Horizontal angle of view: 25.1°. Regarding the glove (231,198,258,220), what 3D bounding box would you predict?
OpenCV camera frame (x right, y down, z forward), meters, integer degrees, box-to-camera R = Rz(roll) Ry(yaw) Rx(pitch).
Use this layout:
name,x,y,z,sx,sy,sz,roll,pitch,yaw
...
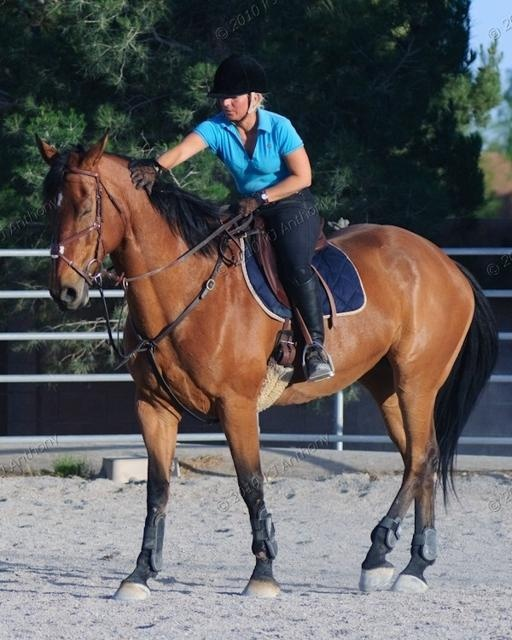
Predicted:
name,x,y,z,sx,sy,sz,roll,pitch,yaw
glove,-0.066,-0.616,6.297,0.112,0.115,0.136,-2,7,-13

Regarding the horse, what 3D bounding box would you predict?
name,x,y,z,sx,sy,sz,roll,pitch,yaw
horse,0.150,0.265,6.551,2.722,2.545,0.991,-2,8,-18

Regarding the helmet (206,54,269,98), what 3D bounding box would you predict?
name,x,y,z,sx,sy,sz,roll,pitch,yaw
helmet,-0.109,-1.326,6.245,0.325,0.169,0.238,-4,8,-40

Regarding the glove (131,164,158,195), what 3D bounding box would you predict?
name,x,y,z,sx,sy,sz,roll,pitch,yaw
glove,-0.612,-0.759,6.125,0.166,0.146,0.033,4,-18,-3

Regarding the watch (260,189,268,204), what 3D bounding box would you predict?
name,x,y,z,sx,sy,sz,roll,pitch,yaw
watch,0.037,-0.671,6.236,0.028,0.059,0.044,-19,-18,-4
